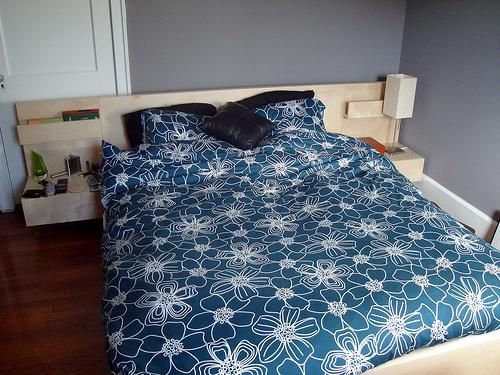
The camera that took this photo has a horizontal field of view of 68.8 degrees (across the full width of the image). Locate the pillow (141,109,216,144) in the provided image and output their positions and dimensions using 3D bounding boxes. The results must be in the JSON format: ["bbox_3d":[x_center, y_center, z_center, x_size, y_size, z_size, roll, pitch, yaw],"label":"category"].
[{"bbox_3d":[-0.630,-0.510,2.938,0.595,0.303,0.137,-2,-26,-15],"label":"pillow"}]

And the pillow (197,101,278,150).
[{"bbox_3d":[-0.072,-0.504,2.922,0.469,0.148,0.410,31,52,22],"label":"pillow"}]

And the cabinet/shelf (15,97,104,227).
[{"bbox_3d":[-1.580,-0.248,3.095,0.721,0.969,0.574,-9,22,-17],"label":"cabinet/shelf"}]

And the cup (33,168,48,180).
[{"bbox_3d":[-1.798,-0.109,3.133,0.095,0.058,0.101,1,8,0],"label":"cup"}]
